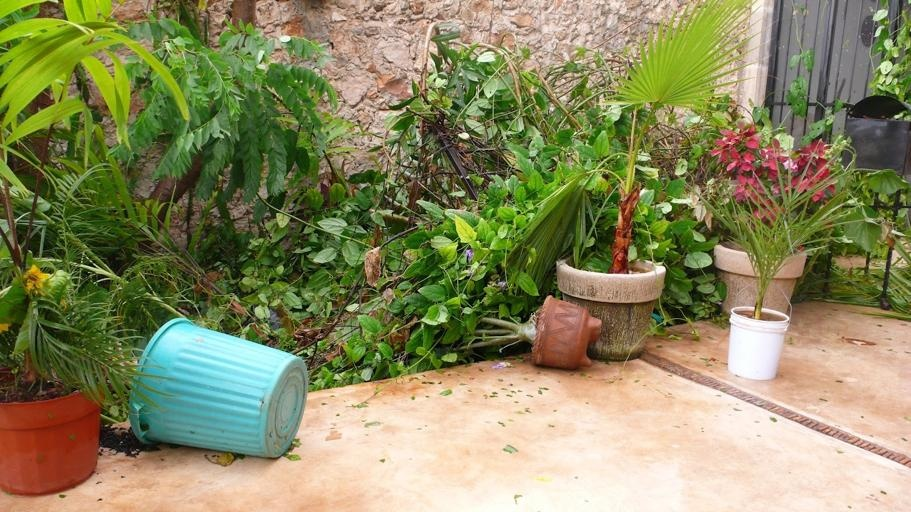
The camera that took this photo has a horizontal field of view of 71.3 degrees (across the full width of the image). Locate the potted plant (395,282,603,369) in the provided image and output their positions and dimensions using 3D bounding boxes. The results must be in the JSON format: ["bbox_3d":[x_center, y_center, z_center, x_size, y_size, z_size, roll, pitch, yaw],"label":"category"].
[{"bbox_3d":[0.363,0.383,3.608,0.827,0.368,0.383,7,0,8],"label":"potted plant"}]

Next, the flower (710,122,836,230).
[{"bbox_3d":[2.117,-0.589,4.245,0.761,0.771,0.556,7,8,26],"label":"flower"}]

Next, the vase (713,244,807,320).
[{"bbox_3d":[1.985,0.150,4.165,0.484,0.364,0.492,3,7,21],"label":"vase"}]

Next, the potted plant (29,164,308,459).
[{"bbox_3d":[-1.270,0.589,3.148,1.064,0.751,0.455,17,-12,4],"label":"potted plant"}]
